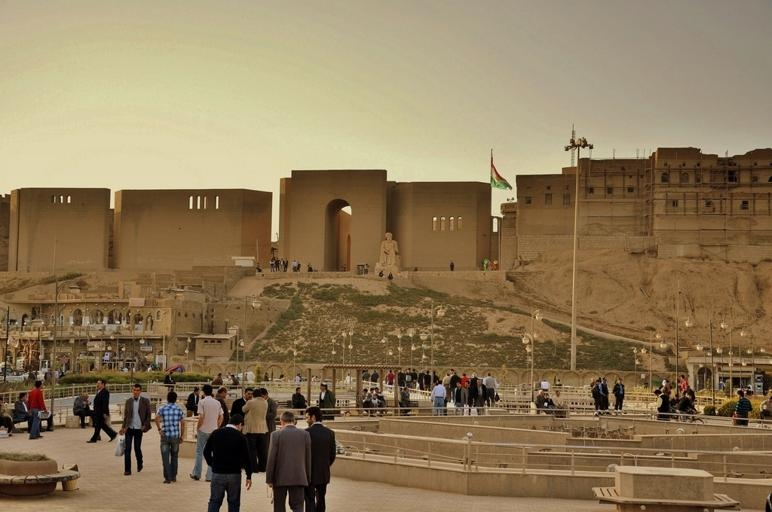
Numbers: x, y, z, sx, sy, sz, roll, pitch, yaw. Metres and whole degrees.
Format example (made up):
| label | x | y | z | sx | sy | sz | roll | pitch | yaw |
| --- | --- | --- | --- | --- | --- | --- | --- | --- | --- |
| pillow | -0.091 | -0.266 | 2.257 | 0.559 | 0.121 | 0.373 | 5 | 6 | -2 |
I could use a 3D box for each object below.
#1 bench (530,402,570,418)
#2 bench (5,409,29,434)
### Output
| label | x | y | z | sx | sy | sz | roll | pitch | yaw |
| --- | --- | --- | --- | --- | --- | --- | --- | --- | --- |
| bench | 7.322 | 6.871 | 66.121 | 1.729 | 0.493 | 1.400 | -1 | -7 | -1 |
| bench | -14.878 | 6.653 | 60.478 | 0.434 | 0.715 | 1.168 | -3 | 1 | 9 |
